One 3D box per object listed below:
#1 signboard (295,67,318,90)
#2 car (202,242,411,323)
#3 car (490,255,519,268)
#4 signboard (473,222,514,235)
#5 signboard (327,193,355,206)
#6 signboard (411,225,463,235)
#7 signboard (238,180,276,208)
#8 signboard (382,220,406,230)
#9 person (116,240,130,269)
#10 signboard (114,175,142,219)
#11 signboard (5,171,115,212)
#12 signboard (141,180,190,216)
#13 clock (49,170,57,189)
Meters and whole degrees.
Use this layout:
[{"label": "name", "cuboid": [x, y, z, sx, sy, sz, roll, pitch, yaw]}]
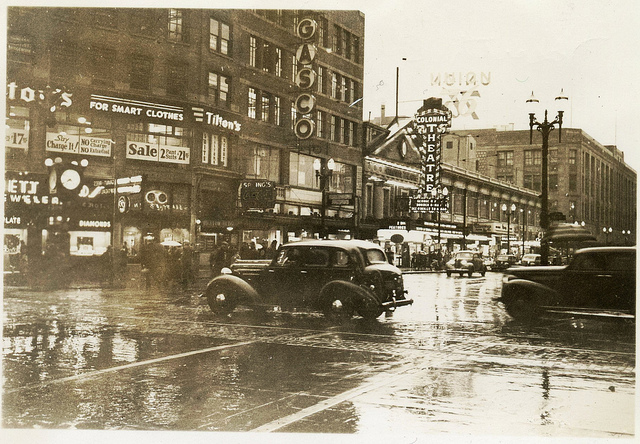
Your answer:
[{"label": "signboard", "cuboid": [-0.874, -8.903, 47.434, 1.178, 1.460, 0.191, -12, -6, 11]}, {"label": "car", "cuboid": [-0.420, 2.033, 26.708, 6.070, 2.754, 1.046, 1, -3, 11]}, {"label": "car", "cuboid": [12.578, 2.626, 53.005, 1.089, 0.919, 1.902, -3, -8, 23]}, {"label": "signboard", "cuboid": [12.708, 0.415, 57.849, 0.847, 1.001, 3.255, 4, -5, -37]}, {"label": "signboard", "cuboid": [1.335, -1.530, 50.736, 1.755, 0.957, 1.151, 2, -4, -3]}, {"label": "signboard", "cuboid": [8.869, 0.565, 59.142, 3.879, 0.594, 0.943, 1, -4, 2]}, {"label": "signboard", "cuboid": [-3.674, -1.692, 45.425, 2.320, 1.675, 0.347, -1, -3, 29]}, {"label": "signboard", "cuboid": [5.632, 0.152, 58.711, 1.701, 0.723, 0.331, 1, -3, 7]}, {"label": "person", "cuboid": [-10.218, 1.693, 40.169, 0.611, 1.428, 1.844, 2, -4, -15]}, {"label": "signboard", "cuboid": [-10.070, -1.376, 39.995, 2.003, 2.060, 0.218, -2, -15, 39]}, {"label": "signboard", "cuboid": [-12.997, -1.536, 38.420, 5.053, 1.747, 1.531, 4, -4, -29]}, {"label": "signboard", "cuboid": [-8.603, -1.397, 43.054, 2.882, 1.835, 0.407, 5, -4, -40]}, {"label": "clock", "cuboid": [-12.963, -2.078, 37.511, 0.032, 0.888, 0.813, 0, 5, -37]}]
